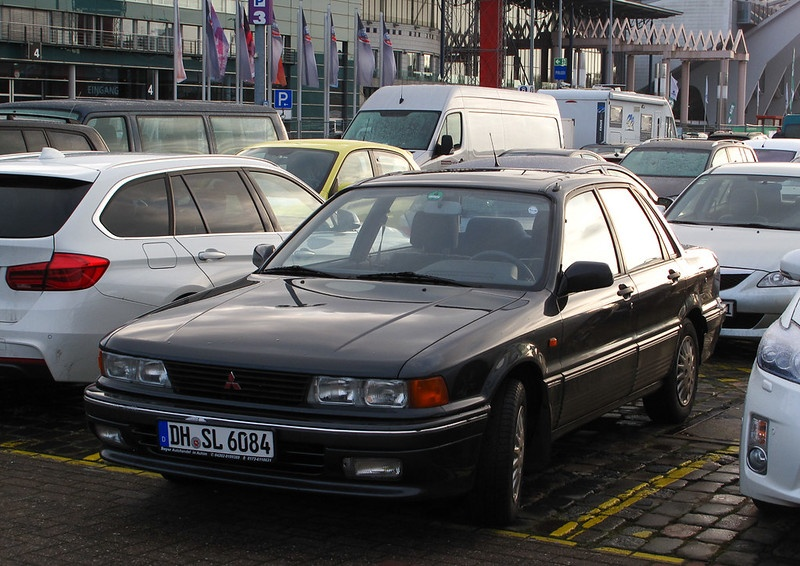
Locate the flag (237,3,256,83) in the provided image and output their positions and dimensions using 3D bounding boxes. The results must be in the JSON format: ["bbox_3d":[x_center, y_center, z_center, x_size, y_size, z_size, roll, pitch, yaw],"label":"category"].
[{"bbox_3d":[-7.531,-11.747,34.656,0.761,4.119,2.708,0,6,-12],"label":"flag"}]

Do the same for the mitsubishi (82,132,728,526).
[{"bbox_3d":[0.463,0.076,4.710,2.156,1.144,3.811,3,6,39],"label":"mitsubishi"}]

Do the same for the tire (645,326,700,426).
[{"bbox_3d":[2.323,0.736,6.157,0.352,0.871,1.032,1,-7,31],"label":"tire"}]

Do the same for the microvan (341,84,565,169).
[{"bbox_3d":[1.230,-3.964,19.848,3.309,2.496,6.892,17,23,35],"label":"microvan"}]

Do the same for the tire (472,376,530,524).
[{"bbox_3d":[0.507,0.848,3.685,0.295,0.714,0.809,6,14,10],"label":"tire"}]

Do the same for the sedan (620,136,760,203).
[{"bbox_3d":[6.669,-2.904,17.269,2.067,1.326,4.500,3,3,42],"label":"sedan"}]

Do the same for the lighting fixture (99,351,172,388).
[{"bbox_3d":[-1.394,0.447,3.749,0.298,0.086,0.207,6,0,10],"label":"lighting fixture"}]

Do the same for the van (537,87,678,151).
[{"bbox_3d":[9.199,-6.943,31.795,4.243,3.051,7.289,10,15,44],"label":"van"}]

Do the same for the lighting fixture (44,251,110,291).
[{"bbox_3d":[-2.539,-0.054,5.544,0.508,0.210,0.603,-10,-9,-24],"label":"lighting fixture"}]
